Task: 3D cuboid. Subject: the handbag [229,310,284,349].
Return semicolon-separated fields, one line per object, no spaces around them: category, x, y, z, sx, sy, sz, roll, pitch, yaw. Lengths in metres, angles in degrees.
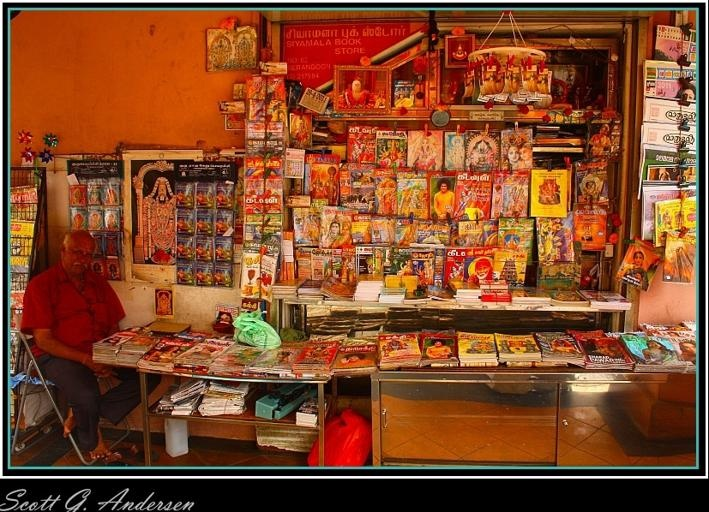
handbag;-0.892;0.705;5.391;0.393;0.337;0.200;21;0;10

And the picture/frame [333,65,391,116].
picture/frame;0.073;-1.517;5.234;0.469;0.374;0.047;0;2;-1

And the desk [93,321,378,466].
desk;-1.119;1.593;5.660;2.307;1.059;1.198;1;13;6
